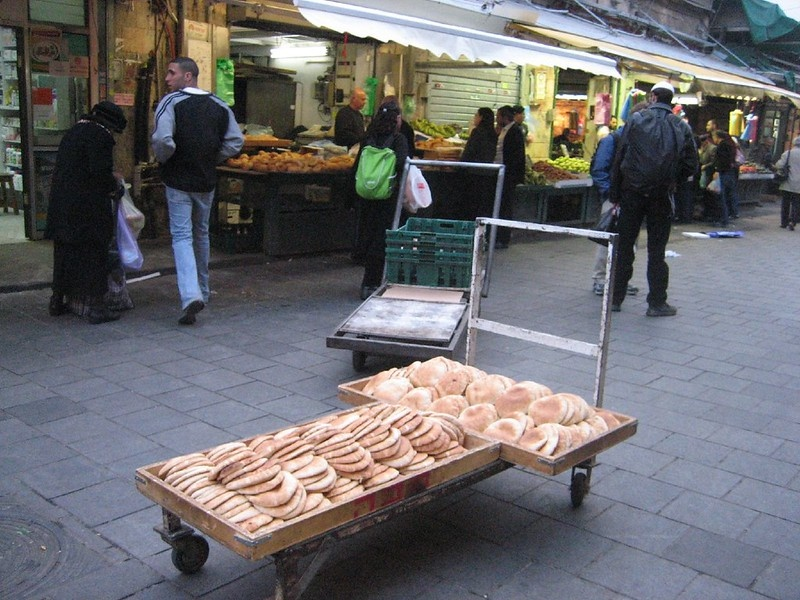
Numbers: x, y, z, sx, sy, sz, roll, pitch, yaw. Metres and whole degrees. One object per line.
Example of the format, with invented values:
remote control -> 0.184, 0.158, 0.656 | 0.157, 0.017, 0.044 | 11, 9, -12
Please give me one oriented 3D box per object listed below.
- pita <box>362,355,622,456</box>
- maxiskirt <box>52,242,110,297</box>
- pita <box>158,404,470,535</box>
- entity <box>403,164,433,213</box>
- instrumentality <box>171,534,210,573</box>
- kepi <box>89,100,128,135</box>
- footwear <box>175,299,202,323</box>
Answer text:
pita -> 0.457, 0.589, 3.531 | 1.025, 0.140, 0.578 | 8, 13, 39
maxiskirt -> -3.143, -0.304, 6.198 | 0.685, 0.670, 0.439 | 0, 3, -9
pita -> -0.372, 0.704, 2.930 | 1.234, 0.191, 0.754 | -10, 17, -41
entity -> 0.201, -1.248, 7.151 | 0.199, 0.439, 0.443 | 9, 10, 35
instrumentality -> -0.989, 1.192, 2.944 | 0.068, 0.159, 0.192 | -25, -15, 40
kepi -> -2.808, -1.773, 6.233 | 0.368, 0.188, 0.362 | 25, 13, 13
footwear -> -2.132, 0.116, 6.420 | 0.157, 0.315, 0.149 | 37, -1, -42
